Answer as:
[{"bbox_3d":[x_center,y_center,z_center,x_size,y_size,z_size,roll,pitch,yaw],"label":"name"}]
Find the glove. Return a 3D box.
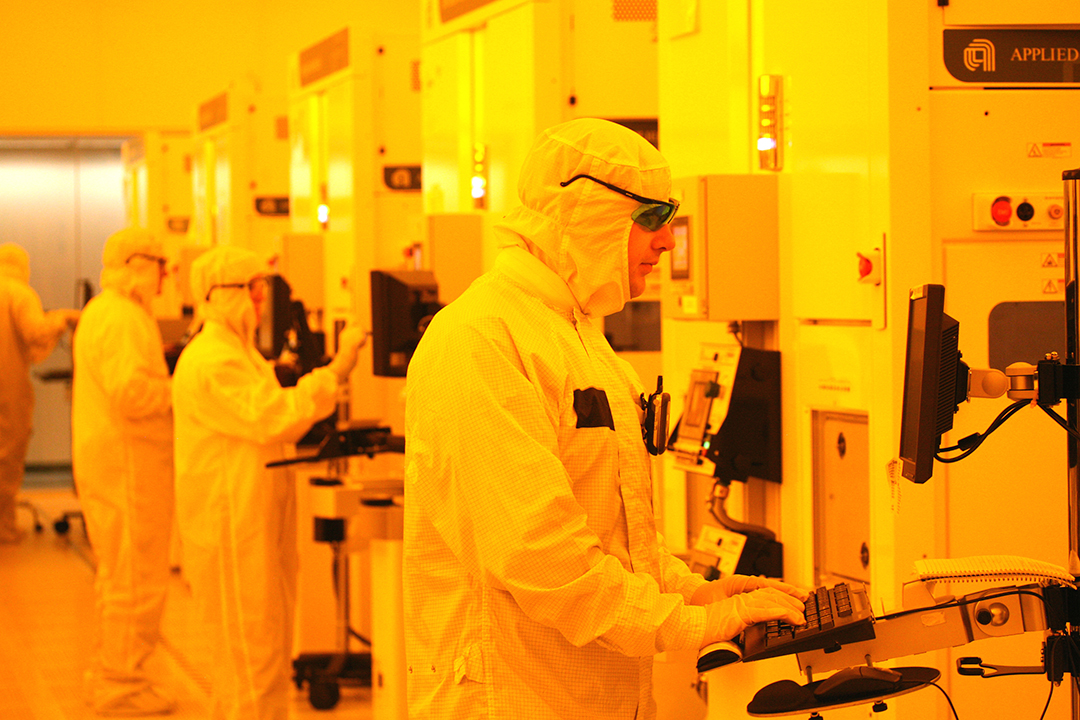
[{"bbox_3d":[0.494,0.633,3.617,0.357,0.144,0.319,-2,1,10],"label":"glove"}]

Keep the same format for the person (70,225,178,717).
[{"bbox_3d":[-1.539,0.412,5.197,0.349,1.776,0.152,-2,1,-19],"label":"person"}]

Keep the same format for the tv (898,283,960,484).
[{"bbox_3d":[1.026,0.051,3.692,0.176,0.389,0.210,-2,1,14],"label":"tv"}]

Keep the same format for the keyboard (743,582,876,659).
[{"bbox_3d":[0.674,0.655,3.560,0.204,0.058,0.230,-9,9,3],"label":"keyboard"}]

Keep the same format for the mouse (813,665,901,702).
[{"bbox_3d":[0.795,0.794,3.546,0.160,0.051,0.097,-1,2,-1],"label":"mouse"}]
